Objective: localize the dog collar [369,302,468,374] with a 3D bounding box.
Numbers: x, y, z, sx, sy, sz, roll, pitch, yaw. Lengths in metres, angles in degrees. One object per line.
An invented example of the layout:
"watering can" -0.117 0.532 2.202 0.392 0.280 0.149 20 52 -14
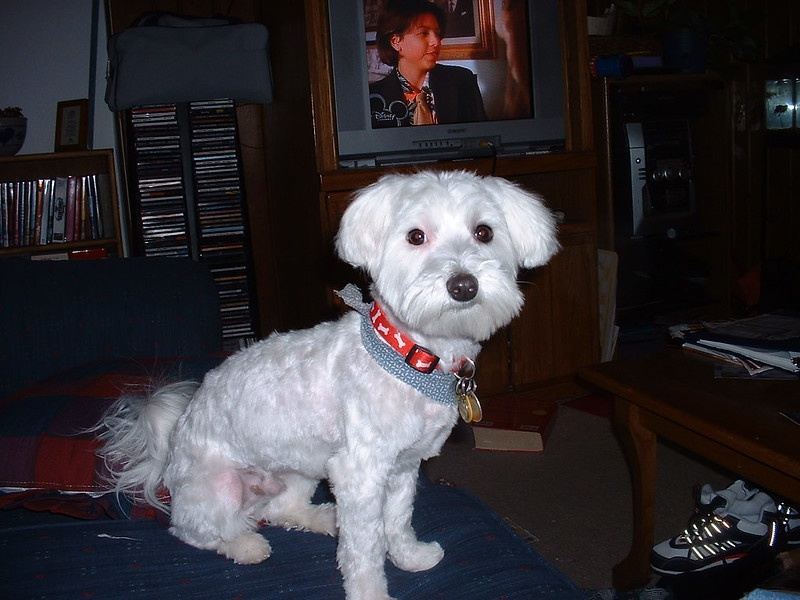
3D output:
"dog collar" 0.078 0.084 1.887 0.239 0.071 0.310 -2 38 -33

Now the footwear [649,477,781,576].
"footwear" 1.002 0.807 2.288 0.513 0.222 0.182 -24 45 32
